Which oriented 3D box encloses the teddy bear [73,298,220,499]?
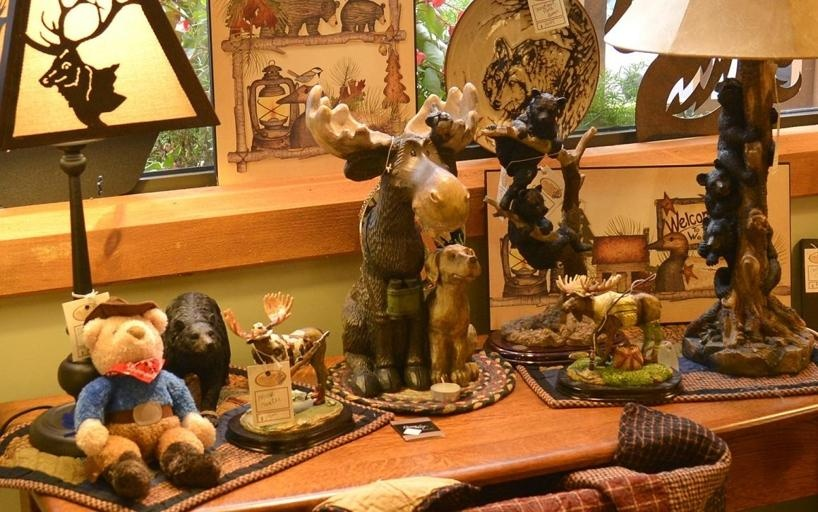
[{"bbox_3d":[-0.682,0.344,1.690,0.434,0.445,0.325,4,4,25],"label":"teddy bear"}]
